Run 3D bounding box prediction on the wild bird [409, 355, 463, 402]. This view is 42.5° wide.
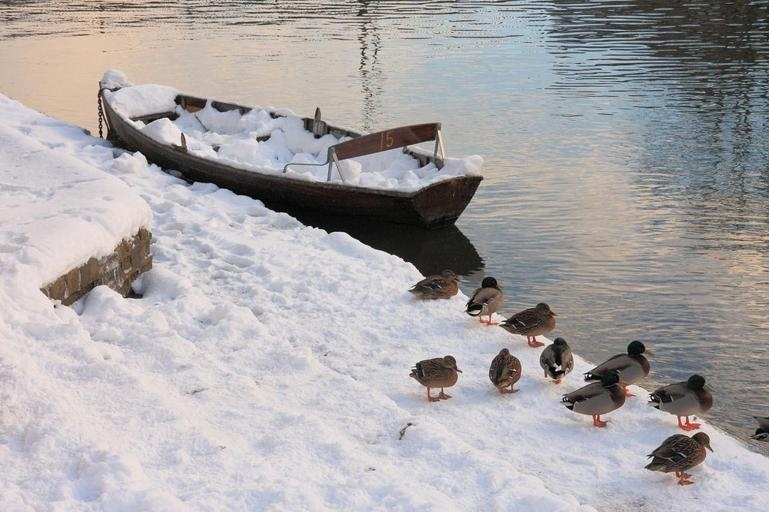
[{"bbox_3d":[0.930,2.105,17.624,0.592,0.789,1.095,-12,20,-39],"label":"wild bird"}]

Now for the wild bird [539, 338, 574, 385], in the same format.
[{"bbox_3d":[3.078,1.877,17.658,0.495,0.541,0.892,5,35,13],"label":"wild bird"}]

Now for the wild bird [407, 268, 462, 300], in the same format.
[{"bbox_3d":[1.033,0.597,19.651,0.994,0.488,0.383,-8,28,-20],"label":"wild bird"}]

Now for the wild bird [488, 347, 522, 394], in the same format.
[{"bbox_3d":[2.094,2.053,17.592,0.505,0.639,0.962,6,25,18],"label":"wild bird"}]

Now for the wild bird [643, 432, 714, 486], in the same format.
[{"bbox_3d":[4.924,3.314,16.429,1.200,0.780,0.577,0,3,-13],"label":"wild bird"}]

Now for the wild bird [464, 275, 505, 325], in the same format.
[{"bbox_3d":[1.903,0.867,19.120,0.621,0.889,1.220,2,11,40],"label":"wild bird"}]

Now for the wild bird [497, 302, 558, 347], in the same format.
[{"bbox_3d":[2.708,1.270,18.464,1.162,0.784,0.608,1,16,1],"label":"wild bird"}]

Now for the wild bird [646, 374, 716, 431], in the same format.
[{"bbox_3d":[5.130,2.499,17.043,1.313,0.888,0.672,1,15,8],"label":"wild bird"}]
